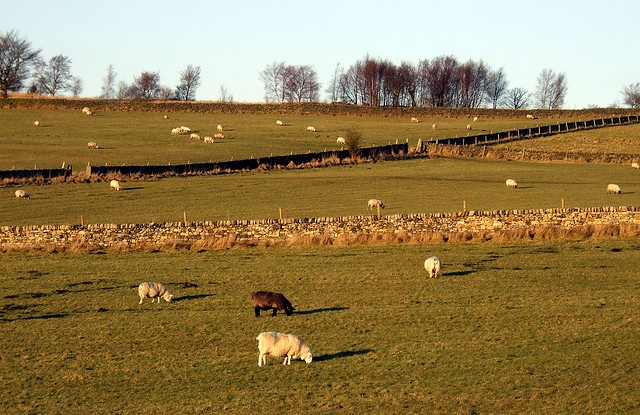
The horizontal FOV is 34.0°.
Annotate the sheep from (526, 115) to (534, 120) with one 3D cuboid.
[{"bbox_3d":[35.704,-15.335,175.668,0.592,1.014,2.032,9,11,35],"label":"sheep"}]

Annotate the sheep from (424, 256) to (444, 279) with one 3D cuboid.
[{"bbox_3d":[8.572,4.380,78.025,1.250,1.504,1.618,1,7,8],"label":"sheep"}]

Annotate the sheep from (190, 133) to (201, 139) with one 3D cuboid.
[{"bbox_3d":[-16.857,-9.582,139.989,1.905,0.963,0.619,4,12,41],"label":"sheep"}]

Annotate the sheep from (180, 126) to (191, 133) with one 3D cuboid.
[{"bbox_3d":[-19.234,-11.141,148.231,2.182,0.575,1.118,9,-29,-19],"label":"sheep"}]

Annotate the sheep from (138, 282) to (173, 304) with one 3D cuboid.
[{"bbox_3d":[-11.998,6.114,75.440,2.308,1.583,1.077,-1,7,-7],"label":"sheep"}]

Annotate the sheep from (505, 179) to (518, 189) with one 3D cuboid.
[{"bbox_3d":[19.036,-2.406,103.158,1.261,0.832,0.608,-2,13,20],"label":"sheep"}]

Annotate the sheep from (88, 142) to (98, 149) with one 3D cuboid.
[{"bbox_3d":[-28.597,-7.835,130.349,1.843,0.441,0.933,2,-27,-6],"label":"sheep"}]

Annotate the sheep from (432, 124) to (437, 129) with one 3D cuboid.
[{"bbox_3d":[17.561,-12.415,158.769,0.784,0.796,0.846,2,11,13],"label":"sheep"}]

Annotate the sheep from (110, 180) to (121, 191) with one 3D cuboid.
[{"bbox_3d":[-20.238,-2.236,102.641,0.967,0.825,1.847,-2,8,-12],"label":"sheep"}]

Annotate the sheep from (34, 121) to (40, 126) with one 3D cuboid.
[{"bbox_3d":[-39.916,-11.827,146.387,0.602,0.949,1.419,2,-6,-37],"label":"sheep"}]

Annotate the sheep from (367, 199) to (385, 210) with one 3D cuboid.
[{"bbox_3d":[5.115,-0.344,93.812,1.506,0.775,1.010,1,7,5],"label":"sheep"}]

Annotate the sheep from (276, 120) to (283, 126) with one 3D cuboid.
[{"bbox_3d":[-6.312,-13.107,161.243,0.520,0.899,1.783,4,13,11],"label":"sheep"}]
